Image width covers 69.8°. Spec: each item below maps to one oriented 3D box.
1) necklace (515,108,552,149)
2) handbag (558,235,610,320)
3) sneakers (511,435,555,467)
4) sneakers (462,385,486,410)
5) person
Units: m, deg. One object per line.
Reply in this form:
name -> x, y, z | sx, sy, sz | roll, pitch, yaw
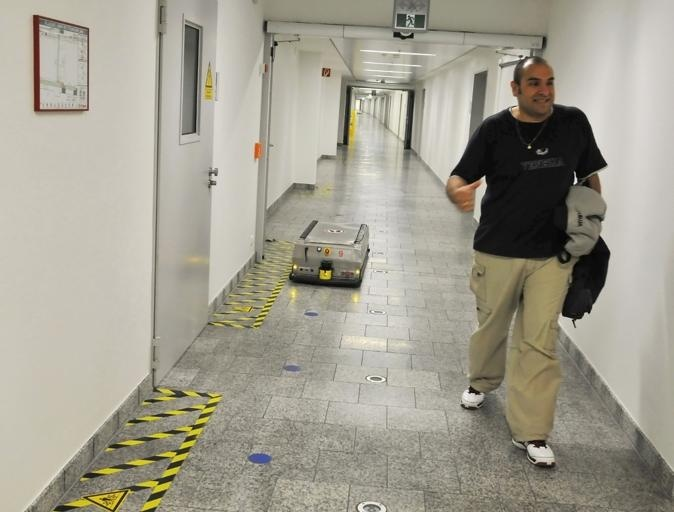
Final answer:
necklace -> 1.101, -0.708, 2.765 | 0.182, 0.227, 0.057 | 5, -1, 5
handbag -> 1.464, 0.145, 2.839 | 0.199, 0.498, 0.165 | -11, 20, -43
sneakers -> 1.169, 1.137, 2.869 | 0.121, 0.116, 0.271 | 0, 6, -2
sneakers -> 0.958, 0.999, 3.421 | 0.095, 0.093, 0.214 | 2, 2, 14
person -> 1.055, 0.131, 2.920 | 0.833, 2.015, 0.572 | 11, 16, 26
